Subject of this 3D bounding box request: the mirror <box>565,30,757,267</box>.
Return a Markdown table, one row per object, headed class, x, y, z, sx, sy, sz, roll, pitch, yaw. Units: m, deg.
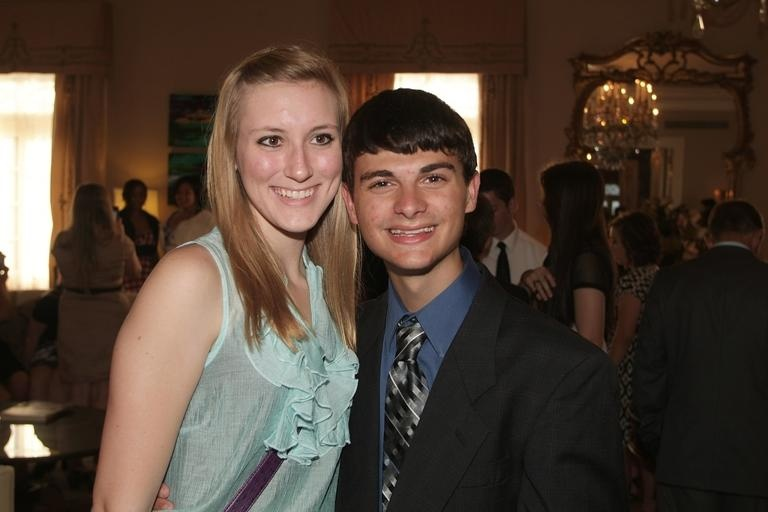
| class | x | y | z | sx | sy | sz | roll | pitch | yaw |
| --- | --- | --- | --- | --- | --- | --- | --- | --- | --- |
| mirror | 3.059 | -1.162 | 7.113 | 2.888 | 3.066 | 0.157 | 1 | -12 | 2 |
